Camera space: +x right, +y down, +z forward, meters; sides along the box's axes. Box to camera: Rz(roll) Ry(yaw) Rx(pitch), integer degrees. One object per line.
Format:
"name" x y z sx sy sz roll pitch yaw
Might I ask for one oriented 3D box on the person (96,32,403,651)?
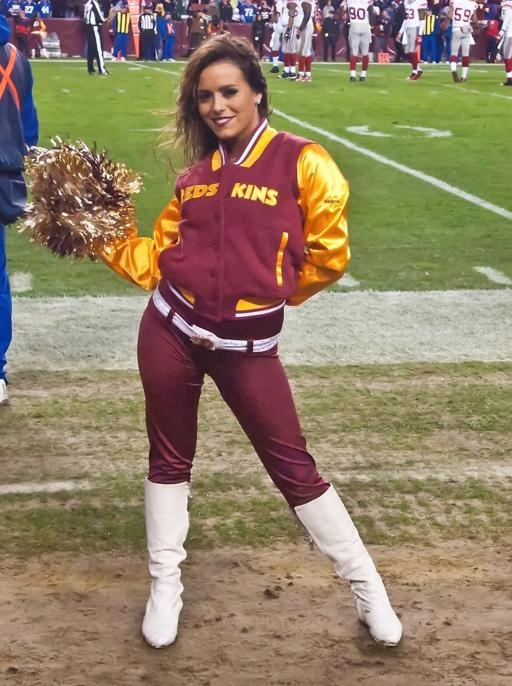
"person" -0.020 -0.006 2.621 0.763 1.631 0.641 0 17 -12

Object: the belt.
"belt" -0.148 -0.067 2.564 0.377 0.153 0.164 8 15 20
